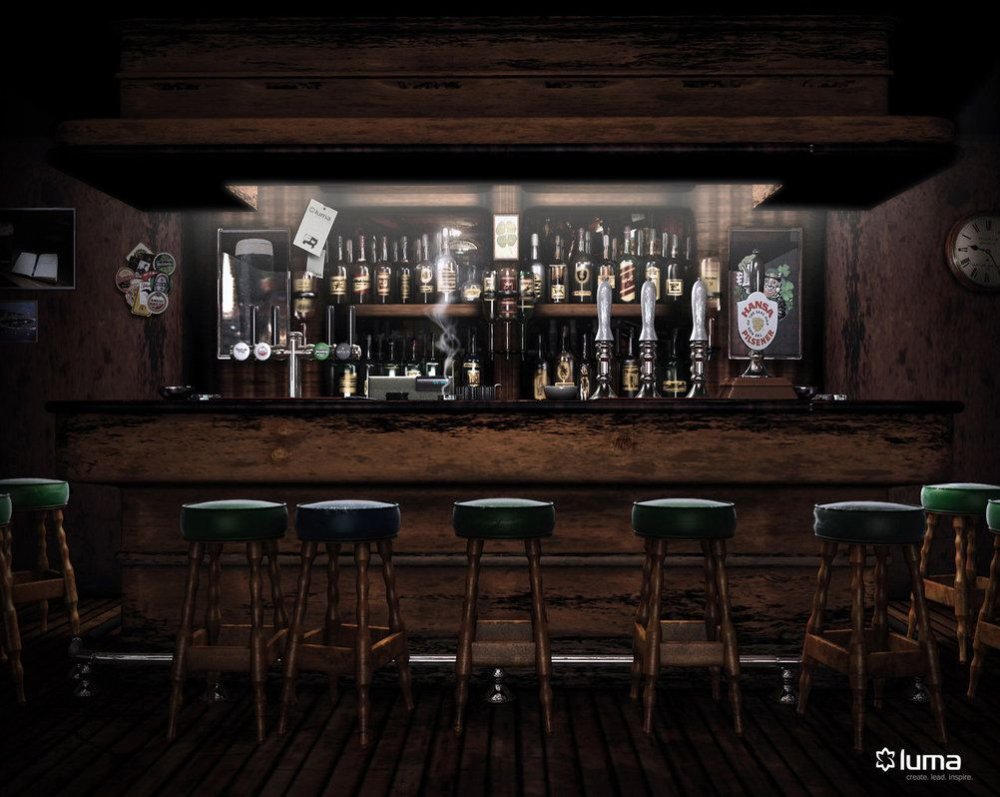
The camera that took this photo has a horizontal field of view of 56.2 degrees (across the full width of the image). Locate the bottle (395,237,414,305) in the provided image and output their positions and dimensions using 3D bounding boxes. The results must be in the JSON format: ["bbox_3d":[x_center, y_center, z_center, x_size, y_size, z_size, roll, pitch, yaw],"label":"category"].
[{"bbox_3d":[-0.621,-0.837,6.044,0.103,0.423,0.282,1,-1,-7],"label":"bottle"}]

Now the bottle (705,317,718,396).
[{"bbox_3d":[1.364,-0.292,6.067,0.080,0.447,0.219,1,0,13],"label":"bottle"}]

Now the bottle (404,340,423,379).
[{"bbox_3d":[-0.554,-0.278,5.938,0.112,0.237,0.202,1,-1,-5],"label":"bottle"}]

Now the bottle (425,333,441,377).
[{"bbox_3d":[-0.436,-0.288,5.935,0.106,0.251,0.226,1,-1,-2],"label":"bottle"}]

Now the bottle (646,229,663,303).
[{"bbox_3d":[0.963,-0.860,5.920,0.113,0.391,0.271,1,-1,8],"label":"bottle"}]

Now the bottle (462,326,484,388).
[{"bbox_3d":[-0.182,-0.277,5.916,0.139,0.358,0.321,1,-1,-2],"label":"bottle"}]

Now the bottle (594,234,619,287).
[{"bbox_3d":[0.668,-0.884,5.929,0.115,0.309,0.440,1,-1,6],"label":"bottle"}]

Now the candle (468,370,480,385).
[{"bbox_3d":[-0.171,-0.130,5.828,0.083,0.083,0.080,0,-5,-4],"label":"candle"}]

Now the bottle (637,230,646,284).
[{"bbox_3d":[0.888,-0.913,5.964,0.054,0.293,0.098,1,0,9],"label":"bottle"}]

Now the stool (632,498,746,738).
[{"bbox_3d":[0.779,0.879,3.953,0.457,0.802,0.571,1,-1,8],"label":"stool"}]

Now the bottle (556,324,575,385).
[{"bbox_3d":[0.400,-0.285,5.874,0.112,0.333,0.352,1,-1,3],"label":"bottle"}]

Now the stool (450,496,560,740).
[{"bbox_3d":[0.019,0.877,3.953,0.408,0.857,0.601,1,-1,3],"label":"stool"}]

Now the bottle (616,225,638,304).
[{"bbox_3d":[0.799,-0.840,5.981,0.129,0.427,0.330,1,-1,-1],"label":"bottle"}]

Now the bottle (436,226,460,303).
[{"bbox_3d":[-0.333,-0.844,5.780,0.137,0.446,0.485,1,-1,-4],"label":"bottle"}]

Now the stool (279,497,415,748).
[{"bbox_3d":[-0.642,0.890,3.985,0.526,0.950,0.670,1,-1,-6],"label":"stool"}]

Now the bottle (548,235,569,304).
[{"bbox_3d":[0.362,-0.830,5.952,0.127,0.402,0.261,1,-1,4],"label":"bottle"}]

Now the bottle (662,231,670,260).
[{"bbox_3d":[1.040,-0.979,5.968,0.045,0.139,0.054,1,0,9],"label":"bottle"}]

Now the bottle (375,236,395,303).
[{"bbox_3d":[-0.748,-0.828,5.996,0.125,0.416,0.271,1,-1,-7],"label":"bottle"}]

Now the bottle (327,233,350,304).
[{"bbox_3d":[-1.032,-0.832,5.976,0.133,0.431,0.272,1,-1,-10],"label":"bottle"}]

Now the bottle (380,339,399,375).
[{"bbox_3d":[-0.701,-0.272,5.925,0.112,0.215,0.270,1,-1,-7],"label":"bottle"}]

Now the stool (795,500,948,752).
[{"bbox_3d":[1.505,0.870,3.890,0.592,0.834,0.593,0,-5,-28],"label":"stool"}]

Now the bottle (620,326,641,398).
[{"bbox_3d":[0.808,-0.241,5.882,0.109,0.385,0.225,1,-1,6],"label":"bottle"}]

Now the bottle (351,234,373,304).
[{"bbox_3d":[-0.879,-0.825,5.958,0.134,0.417,0.247,1,-1,-10],"label":"bottle"}]

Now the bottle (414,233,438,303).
[{"bbox_3d":[-0.478,-0.822,5.966,0.129,0.414,0.185,1,0,-7],"label":"bottle"}]

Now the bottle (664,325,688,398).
[{"bbox_3d":[1.083,-0.240,5.864,0.158,0.377,0.230,1,-1,10],"label":"bottle"}]

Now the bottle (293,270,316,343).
[{"bbox_3d":[-1.268,-0.601,6.017,0.162,0.436,0.187,1,0,-7],"label":"bottle"}]

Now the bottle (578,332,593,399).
[{"bbox_3d":[0.526,-0.218,5.892,0.094,0.362,0.271,1,-1,5],"label":"bottle"}]
